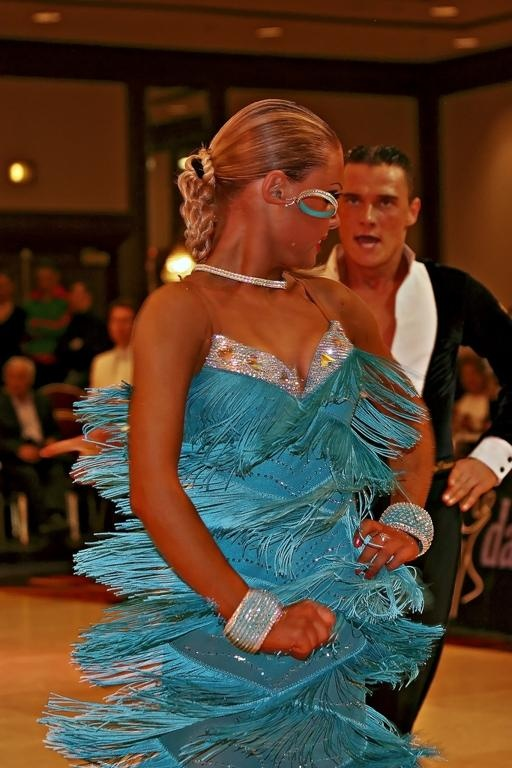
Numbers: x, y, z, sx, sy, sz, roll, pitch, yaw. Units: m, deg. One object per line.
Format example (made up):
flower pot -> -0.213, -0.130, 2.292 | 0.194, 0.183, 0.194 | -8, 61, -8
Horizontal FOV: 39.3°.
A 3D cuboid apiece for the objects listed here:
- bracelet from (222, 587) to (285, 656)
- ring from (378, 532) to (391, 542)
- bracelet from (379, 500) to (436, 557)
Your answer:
bracelet -> -0.003, 0.231, 0.702 | 0.046, 0.064, 0.020 | 35, -13, 3
ring -> 0.160, 0.193, 0.907 | 0.010, 0.010, 0.003 | 0, -18, -11
bracelet -> 0.207, 0.190, 0.971 | 0.075, 0.032, 0.076 | 15, -33, 0
